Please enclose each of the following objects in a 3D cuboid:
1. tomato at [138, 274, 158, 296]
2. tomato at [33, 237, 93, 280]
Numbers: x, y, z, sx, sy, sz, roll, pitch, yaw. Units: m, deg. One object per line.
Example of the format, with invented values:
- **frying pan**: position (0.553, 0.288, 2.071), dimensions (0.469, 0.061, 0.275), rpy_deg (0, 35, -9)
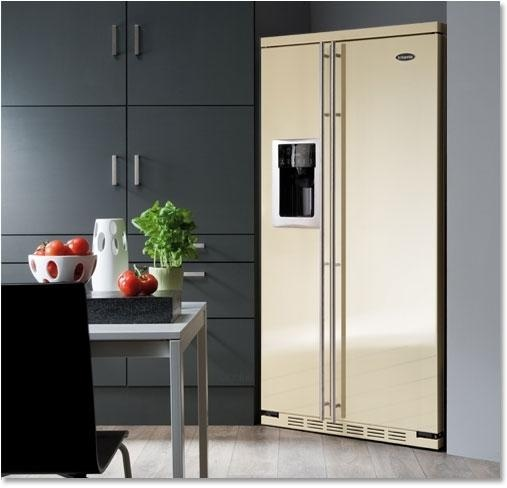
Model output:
- **tomato**: position (-0.337, 0.126, 1.635), dimensions (0.047, 0.065, 0.075), rpy_deg (0, 4, 11)
- **tomato**: position (-0.578, 0.057, 1.581), dimensions (0.195, 0.138, 0.239), rpy_deg (-3, 5, -28)
